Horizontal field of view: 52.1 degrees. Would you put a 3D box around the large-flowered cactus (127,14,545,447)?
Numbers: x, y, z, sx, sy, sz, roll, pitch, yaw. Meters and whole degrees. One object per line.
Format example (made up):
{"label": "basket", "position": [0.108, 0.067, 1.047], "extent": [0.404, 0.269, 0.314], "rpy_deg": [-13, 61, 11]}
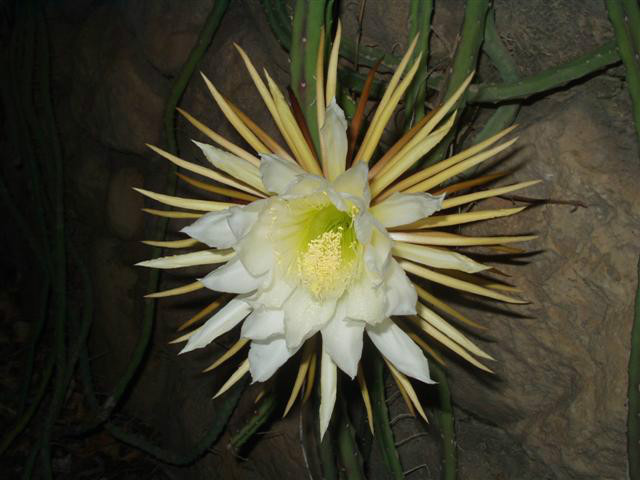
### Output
{"label": "large-flowered cactus", "position": [0.019, -0.135, 2.361], "extent": [1.083, 1.187, 1.056], "rpy_deg": [-16, -69, 2]}
